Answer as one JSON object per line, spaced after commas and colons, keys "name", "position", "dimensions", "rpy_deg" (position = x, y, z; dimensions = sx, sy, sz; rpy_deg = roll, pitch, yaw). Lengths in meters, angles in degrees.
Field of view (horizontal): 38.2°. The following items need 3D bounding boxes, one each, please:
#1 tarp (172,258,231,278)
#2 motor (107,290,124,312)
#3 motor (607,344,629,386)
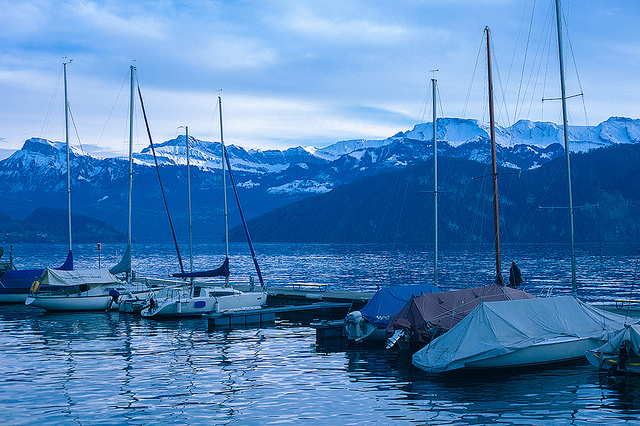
{"name": "tarp", "position": [-11.838, 5.808, 95.380], "dimensions": [5.201, 2.121, 3.893], "rpy_deg": [2, 12, 11]}
{"name": "motor", "position": [-21.170, 8.938, 94.733], "dimensions": [0.866, 2.169, 1.623], "rpy_deg": [0, -4, 8]}
{"name": "motor", "position": [22.943, 11.426, 70.153], "dimensions": [1.860, 2.872, 1.144], "rpy_deg": [1, 1, 19]}
